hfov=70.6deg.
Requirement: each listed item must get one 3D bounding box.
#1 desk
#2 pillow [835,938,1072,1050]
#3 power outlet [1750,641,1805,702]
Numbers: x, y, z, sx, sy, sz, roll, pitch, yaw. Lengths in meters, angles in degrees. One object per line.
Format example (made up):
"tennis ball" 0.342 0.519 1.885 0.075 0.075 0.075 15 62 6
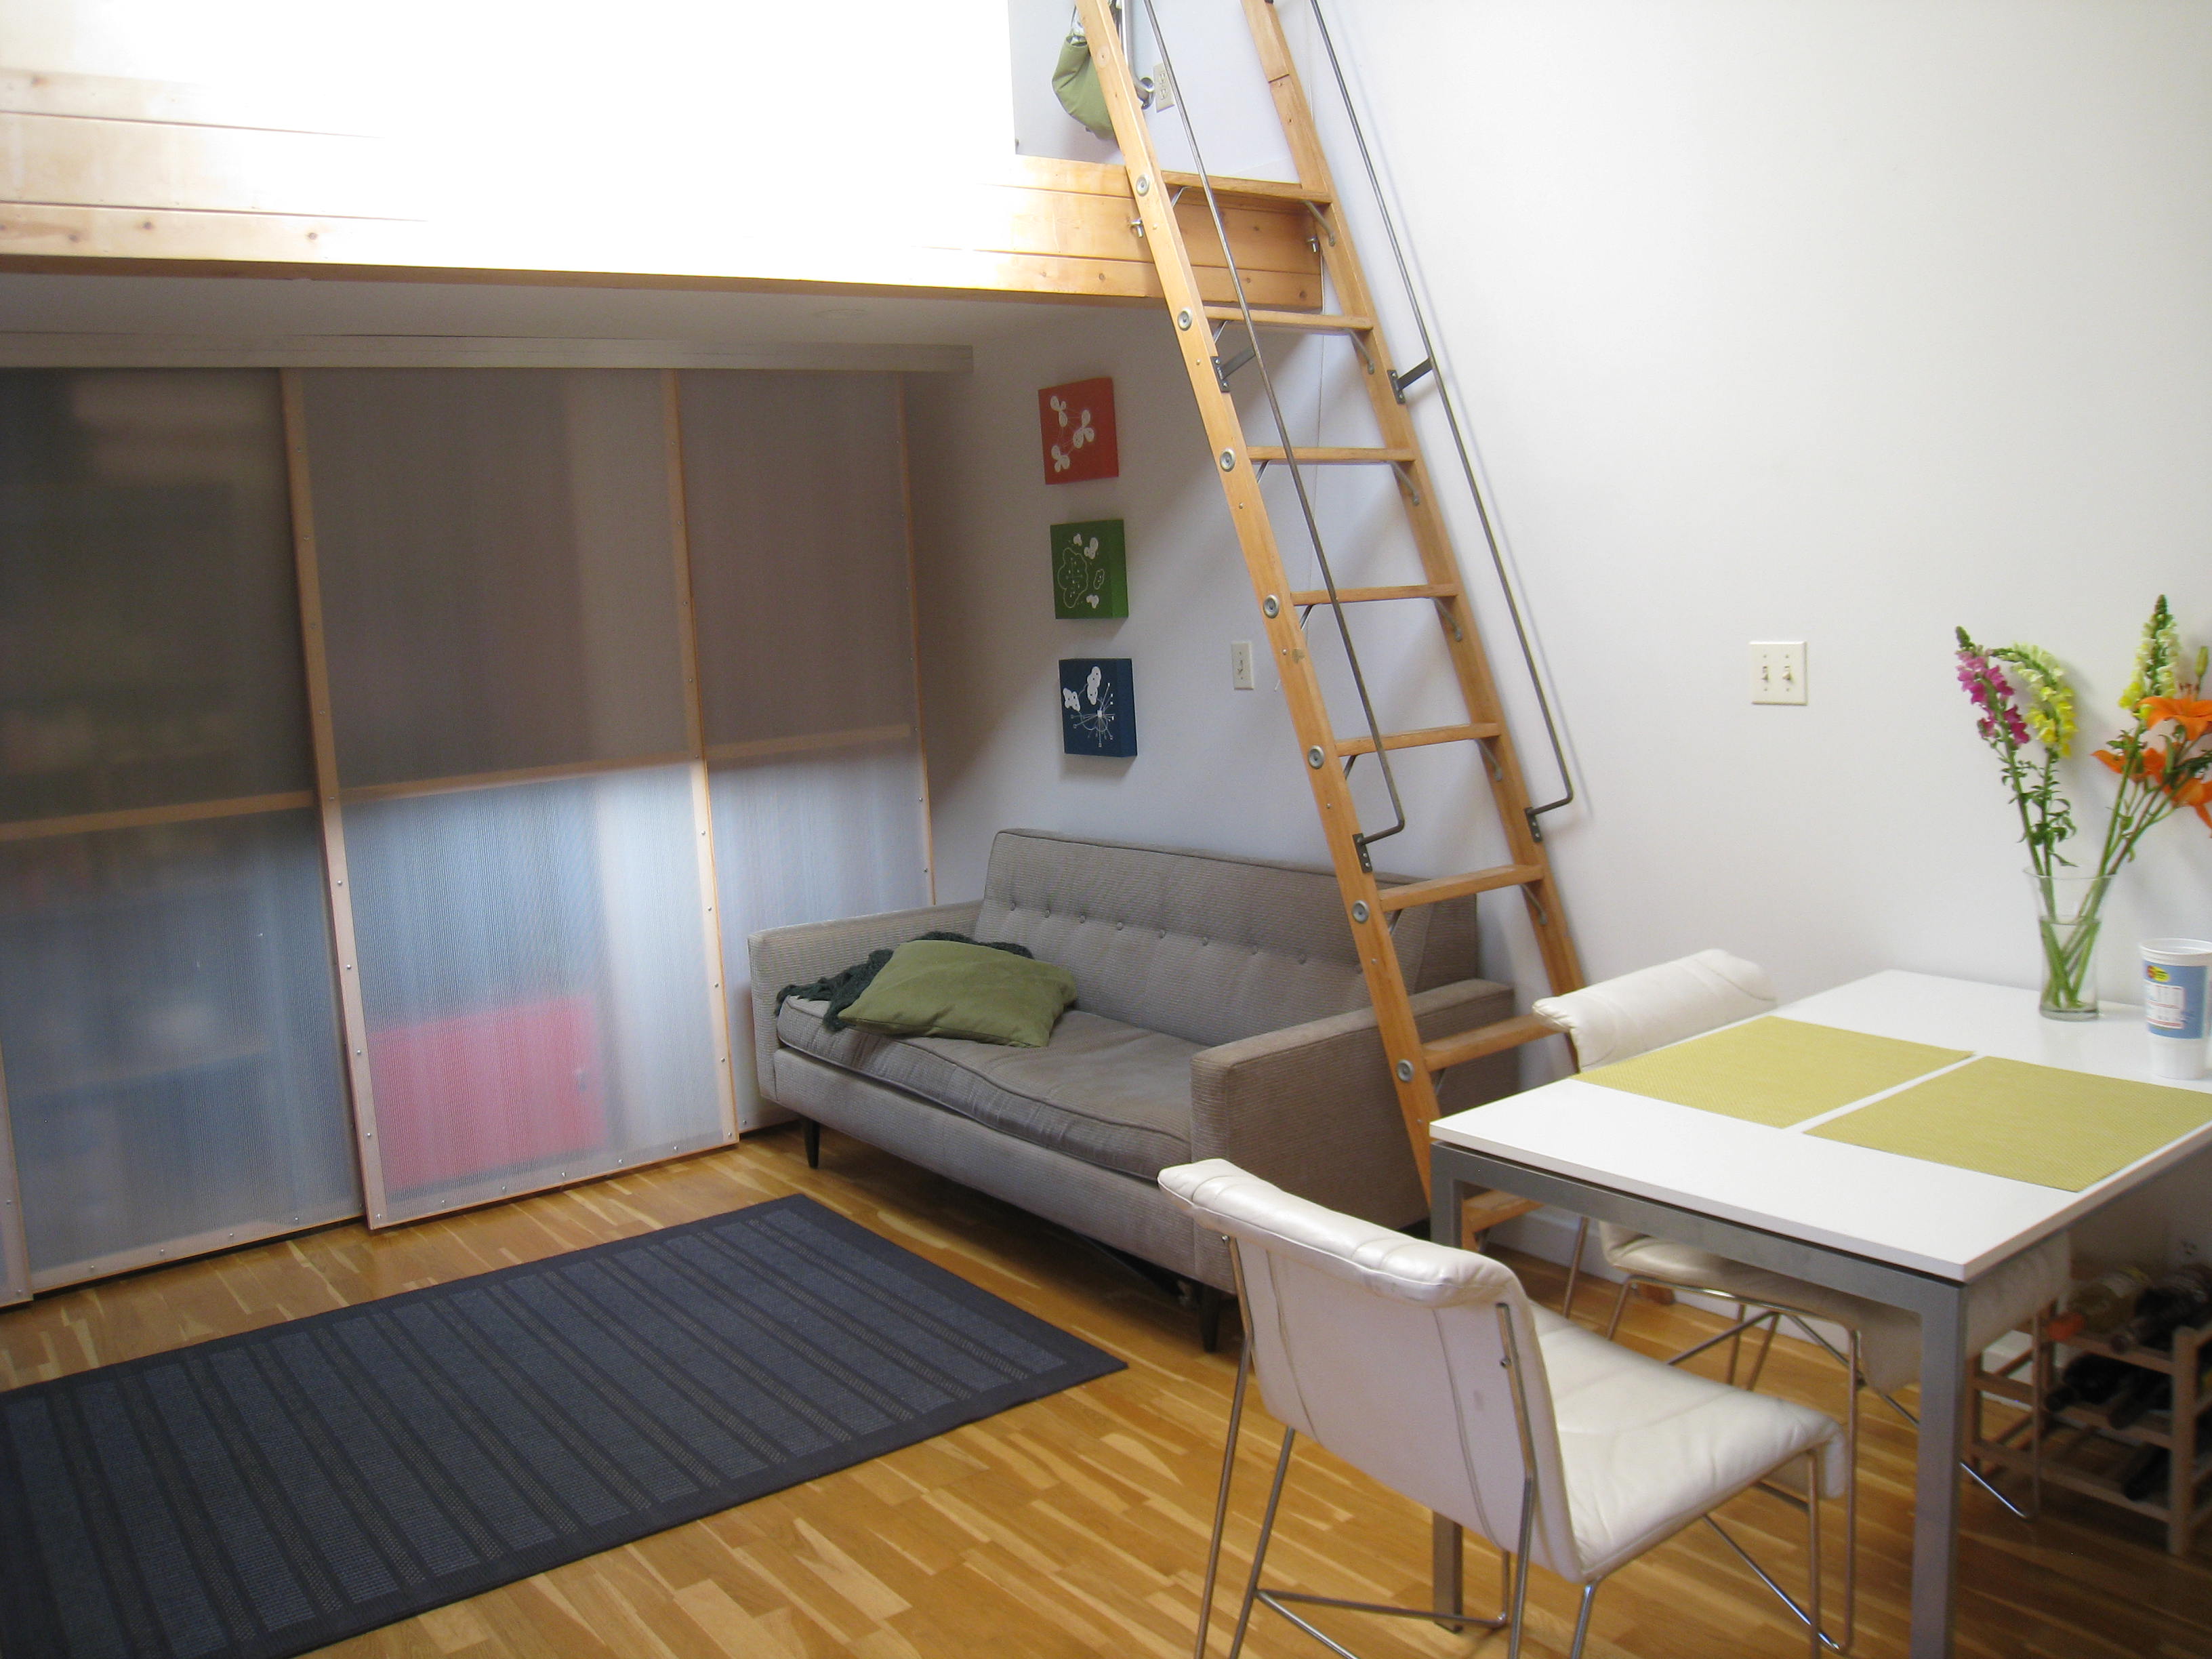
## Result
"desk" 1.081 0.924 2.424 0.773 0.604 1.225 11 19 42
"pillow" -0.431 0.457 4.470 0.468 0.128 0.505 10 24 -2
"power outlet" 1.389 -0.327 3.221 0.013 0.131 0.110 -10 15 -42
